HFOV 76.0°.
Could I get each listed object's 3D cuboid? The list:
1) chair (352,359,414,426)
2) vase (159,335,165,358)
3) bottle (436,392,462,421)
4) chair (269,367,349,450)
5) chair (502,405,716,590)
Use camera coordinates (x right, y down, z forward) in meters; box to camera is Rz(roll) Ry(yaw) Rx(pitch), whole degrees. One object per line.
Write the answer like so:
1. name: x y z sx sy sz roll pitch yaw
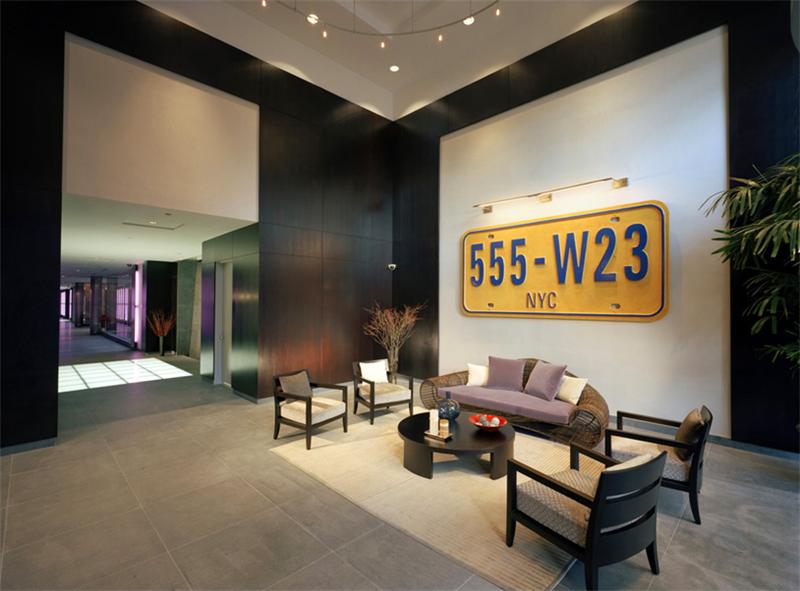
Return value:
1. chair: -0.325 1.558 8.604 0.814 0.935 0.905 0 -1 -26
2. vase: -6.609 1.404 14.282 0.145 0.523 0.275 -2 2 -26
3. bottle: 0.621 1.535 6.971 0.310 0.460 0.325 -4 -1 0
4. chair: -1.319 1.597 7.803 0.934 1.182 1.043 -2 -2 33
5. chair: 2.255 2.213 5.539 2.101 1.306 1.170 -2 2 -35
